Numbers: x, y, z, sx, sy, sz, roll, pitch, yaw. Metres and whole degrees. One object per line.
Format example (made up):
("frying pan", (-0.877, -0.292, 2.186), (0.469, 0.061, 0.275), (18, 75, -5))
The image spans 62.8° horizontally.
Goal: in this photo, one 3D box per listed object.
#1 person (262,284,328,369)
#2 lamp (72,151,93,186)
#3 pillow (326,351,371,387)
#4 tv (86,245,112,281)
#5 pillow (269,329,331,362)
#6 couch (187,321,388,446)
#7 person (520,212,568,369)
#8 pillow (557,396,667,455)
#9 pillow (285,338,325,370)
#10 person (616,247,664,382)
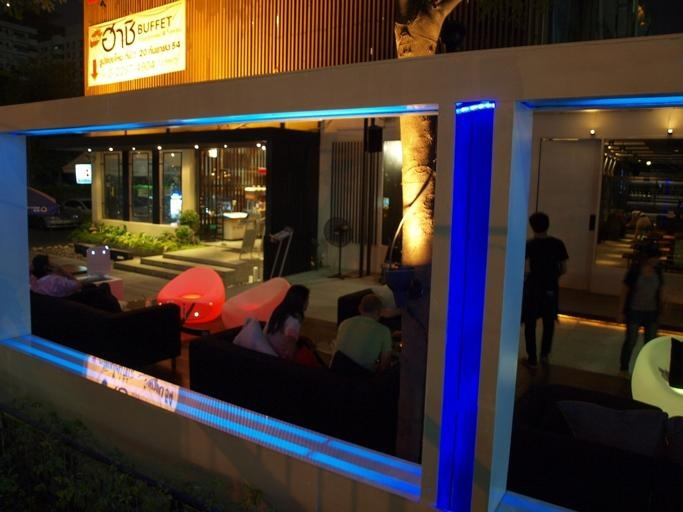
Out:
("person", (-0.406, 0.662, 5.106), (0.464, 0.812, 0.474), (2, 13, -20))
("lamp", (-9.309, -2.760, 19.945), (0.546, 0.770, 1.041), (-1, -9, -39))
("pillow", (0.062, 0.898, 4.365), (0.166, 0.090, 0.246), (11, 28, -37))
("tv", (-4.053, 0.043, 9.269), (0.379, 0.648, 0.350), (2, 25, -25))
("pillow", (-0.432, 0.802, 5.235), (0.493, 0.268, 0.656), (3, -4, -31))
("couch", (-0.402, 1.092, 4.434), (1.447, 0.488, 0.636), (12, 20, 31))
("person", (2.252, 0.399, 6.293), (0.454, 1.768, 0.333), (0, 8, -14))
("pillow", (1.752, 1.083, 3.574), (0.332, 0.117, 0.355), (7, 13, 19))
("pillow", (-0.330, 0.864, 5.004), (0.274, 0.315, 0.219), (-4, 15, -33))
("person", (3.221, 0.607, 5.982), (0.402, 1.549, 0.407), (3, 21, 22))
